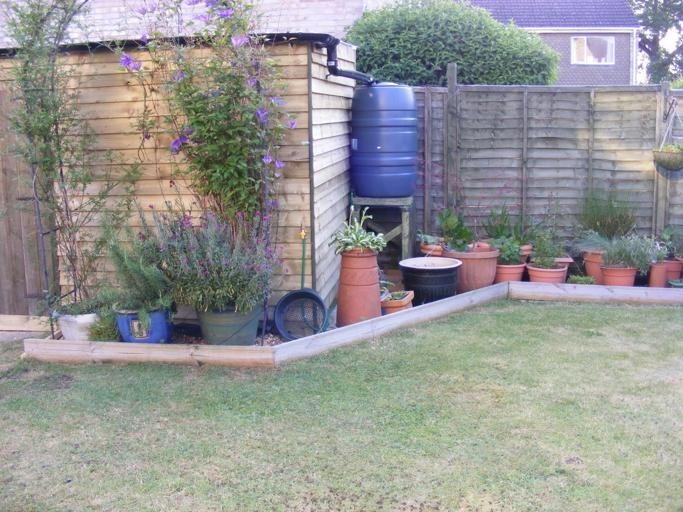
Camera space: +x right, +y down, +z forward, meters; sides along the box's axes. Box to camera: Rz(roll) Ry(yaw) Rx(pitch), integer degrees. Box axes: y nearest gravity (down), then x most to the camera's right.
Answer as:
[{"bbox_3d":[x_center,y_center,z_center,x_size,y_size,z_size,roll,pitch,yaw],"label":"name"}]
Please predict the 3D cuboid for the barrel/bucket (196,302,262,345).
[{"bbox_3d":[-0.871,0.560,5.193,0.366,0.224,0.367,0,-1,0],"label":"barrel/bucket"}]

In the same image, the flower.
[{"bbox_3d":[-1.047,-0.022,5.211,0.969,0.891,0.688,0,8,16],"label":"flower"}]

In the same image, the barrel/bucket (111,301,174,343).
[{"bbox_3d":[-1.533,0.517,5.044,0.318,0.235,0.320,-1,-2,0],"label":"barrel/bucket"}]
